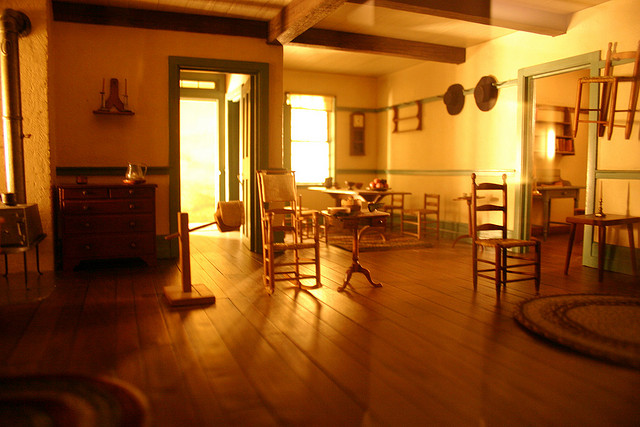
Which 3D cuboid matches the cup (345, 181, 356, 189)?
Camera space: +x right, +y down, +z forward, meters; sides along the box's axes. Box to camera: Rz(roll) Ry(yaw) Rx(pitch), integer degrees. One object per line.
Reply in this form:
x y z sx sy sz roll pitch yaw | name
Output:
0.580 -0.535 8.856 0.182 0.119 0.178 0 -1 0 | cup

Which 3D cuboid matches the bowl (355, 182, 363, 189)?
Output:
0.729 -0.518 8.778 0.124 0.083 0.129 0 5 0 | bowl

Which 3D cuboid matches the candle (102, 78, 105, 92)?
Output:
-2.906 -1.687 6.192 0.029 0.174 0.037 -3 8 -10 | candle

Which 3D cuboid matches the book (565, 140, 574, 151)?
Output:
4.890 -1.310 9.080 0.221 0.207 0.076 -6 9 -30 | book

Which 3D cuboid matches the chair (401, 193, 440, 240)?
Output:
1.794 0.059 8.208 0.569 0.757 0.635 -1 4 -9 | chair

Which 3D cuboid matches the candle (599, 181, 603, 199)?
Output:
3.678 -0.303 6.049 0.027 0.209 0.042 -8 10 -40 | candle

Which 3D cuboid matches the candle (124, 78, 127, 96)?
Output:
-2.641 -1.685 6.279 0.039 0.225 0.029 -4 8 -22 | candle

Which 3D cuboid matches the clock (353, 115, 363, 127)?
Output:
0.816 -1.989 10.072 0.260 0.249 0.034 -2 3 -25 | clock

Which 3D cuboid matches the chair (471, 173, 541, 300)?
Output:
2.050 0.218 5.101 0.734 1.287 0.716 1 5 17 | chair

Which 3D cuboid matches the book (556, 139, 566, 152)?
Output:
4.677 -1.290 8.978 0.281 0.238 0.070 -7 10 -37 | book
